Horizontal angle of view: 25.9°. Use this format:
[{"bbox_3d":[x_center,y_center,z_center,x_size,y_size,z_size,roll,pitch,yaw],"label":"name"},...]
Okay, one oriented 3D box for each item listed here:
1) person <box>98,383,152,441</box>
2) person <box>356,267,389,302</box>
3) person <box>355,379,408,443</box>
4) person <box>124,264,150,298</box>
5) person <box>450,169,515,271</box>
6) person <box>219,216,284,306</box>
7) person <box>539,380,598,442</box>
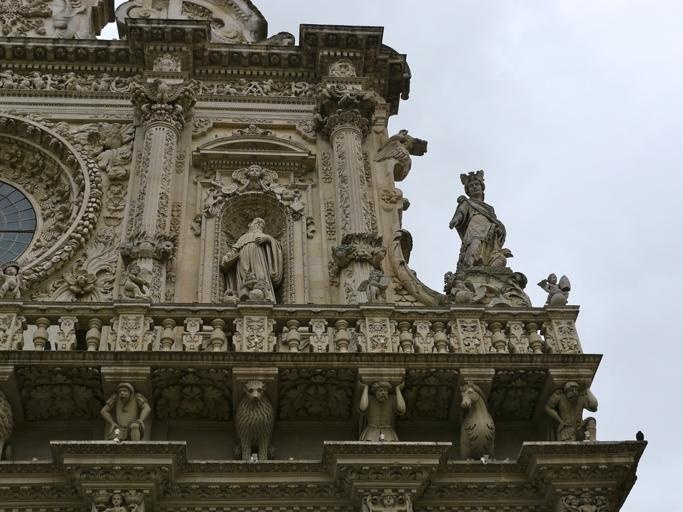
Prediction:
[{"bbox_3d":[-4.054,2.998,27.535,0.863,1.315,0.753,-7,-11,11],"label":"person"},{"bbox_3d":[0.558,0.666,29.916,0.646,0.753,0.536,-1,-20,14],"label":"person"},{"bbox_3d":[0.747,3.024,27.767,0.854,1.393,0.873,-2,-54,2],"label":"person"},{"bbox_3d":[-4.245,0.579,30.739,0.483,0.841,0.205,11,-38,-9],"label":"person"},{"bbox_3d":[3.000,-0.649,32.443,1.345,2.607,0.819,8,-35,-10],"label":"person"},{"bbox_3d":[-1.937,0.139,31.429,1.156,2.475,0.726,9,-39,-10],"label":"person"},{"bbox_3d":[4.345,2.982,27.898,0.945,1.114,0.649,-16,-56,12],"label":"person"}]
